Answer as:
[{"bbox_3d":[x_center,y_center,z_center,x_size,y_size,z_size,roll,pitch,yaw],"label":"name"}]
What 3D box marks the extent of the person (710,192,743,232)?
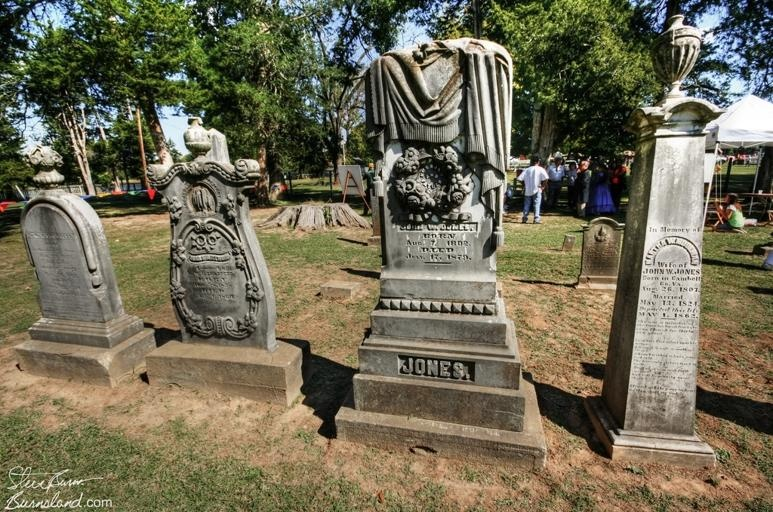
[{"bbox_3d":[10.378,-1.333,15.728,0.857,1.083,0.872,2,10,21],"label":"person"}]
